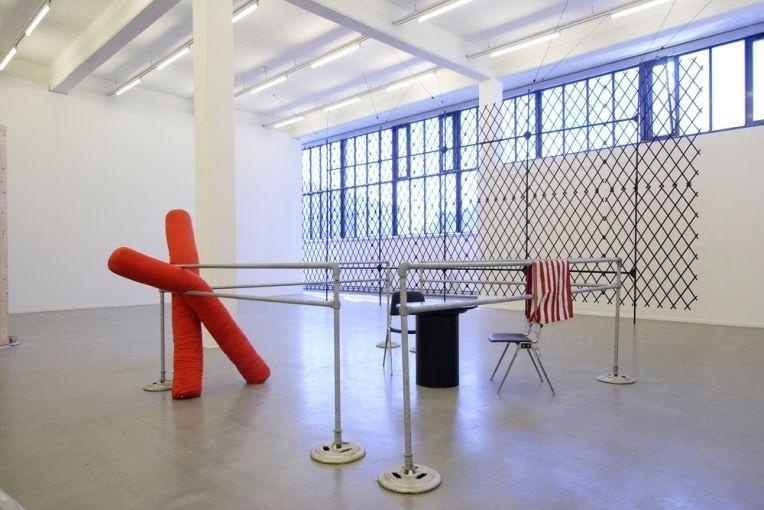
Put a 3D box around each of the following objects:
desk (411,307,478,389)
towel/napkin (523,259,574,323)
[{"bbox_3d":[0.542,0.917,5.236,0.774,0.837,0.762,0,-9,-14],"label":"desk"},{"bbox_3d":[1.491,0.300,4.556,0.487,0.541,0.155,-6,13,-25],"label":"towel/napkin"}]
